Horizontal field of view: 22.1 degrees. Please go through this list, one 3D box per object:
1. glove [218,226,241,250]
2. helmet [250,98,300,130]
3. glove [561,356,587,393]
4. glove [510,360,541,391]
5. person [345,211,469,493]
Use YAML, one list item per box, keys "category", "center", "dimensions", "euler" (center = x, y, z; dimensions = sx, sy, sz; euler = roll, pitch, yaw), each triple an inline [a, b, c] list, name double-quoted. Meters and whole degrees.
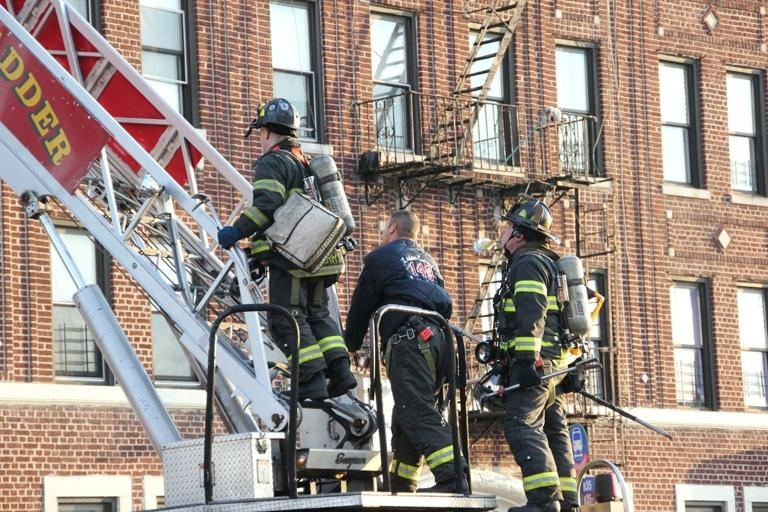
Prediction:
- category: "glove"
  center: [-1.998, -0.240, 25.504]
  dimensions: [0.332, 0.284, 0.262]
  euler: [-4, -14, 11]
- category: "helmet"
  center: [-1.444, -1.854, 25.818]
  dimensions: [0.531, 0.290, 0.375]
  euler: [8, 5, 26]
- category: "glove"
  center: [2.591, 1.671, 27.053]
  dimensions: [0.330, 0.424, 0.455]
  euler: [7, -19, -22]
- category: "glove"
  center: [1.874, 1.590, 26.444]
  dimensions: [0.408, 0.413, 0.297]
  euler: [-5, -7, 3]
- category: "person"
  center: [0.309, 1.208, 25.795]
  dimensions: [1.100, 3.908, 1.296]
  euler: [10, -18, -39]
